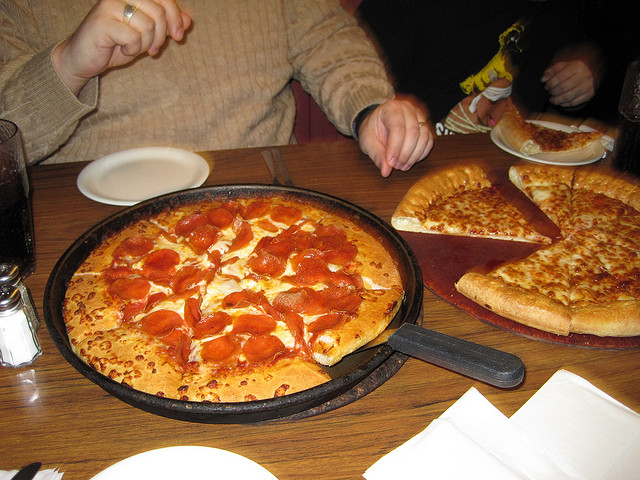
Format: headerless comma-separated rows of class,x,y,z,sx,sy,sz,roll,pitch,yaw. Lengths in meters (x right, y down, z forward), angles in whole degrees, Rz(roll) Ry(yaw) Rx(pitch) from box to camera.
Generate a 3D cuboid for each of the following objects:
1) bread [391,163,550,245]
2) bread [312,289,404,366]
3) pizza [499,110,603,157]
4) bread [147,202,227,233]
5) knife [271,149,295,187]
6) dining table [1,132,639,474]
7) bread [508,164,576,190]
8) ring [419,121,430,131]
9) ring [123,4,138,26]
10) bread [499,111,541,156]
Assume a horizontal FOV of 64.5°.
bread,0.555,-0.151,2.011,0.410,0.098,0.466,-28,41,-24
bread,0.133,0.276,1.548,0.275,0.053,0.162,-35,37,-23
pizza,1.085,-0.494,2.421,0.331,0.071,0.274,-3,31,2
bread,-0.496,-0.085,1.933,0.290,0.142,0.043,-8,46,-32
knife,-0.147,-0.294,2.058,0.057,0.011,0.288,-10,31,-14
dining table,-0.130,0.047,1.753,1.793,0.462,1.501,-7,54,-12
bread,0.977,-0.293,2.234,0.219,0.047,0.144,2,29,7
ring,0.454,-0.505,2.213,0.037,0.012,0.033,-13,39,-32
ring,-0.756,-0.898,2.015,0.036,0.076,0.072,14,26,10
bread,0.938,-0.510,2.453,0.165,0.076,0.250,-7,43,-16
